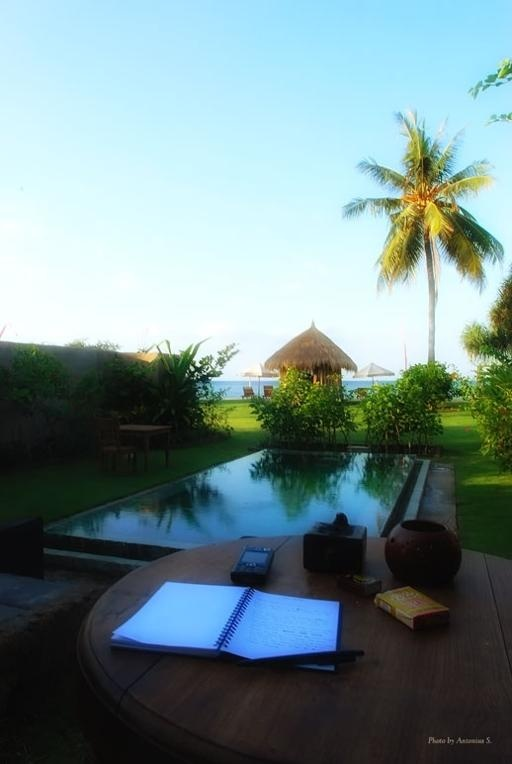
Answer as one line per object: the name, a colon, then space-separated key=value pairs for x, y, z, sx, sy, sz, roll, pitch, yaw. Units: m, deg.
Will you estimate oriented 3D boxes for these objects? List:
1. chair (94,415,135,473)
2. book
chair: x=-1.953 y=0.901 z=7.145 sx=0.534 sy=1.000 sz=0.561 roll=-1 pitch=8 yaw=-17
book: x=-0.022 y=0.496 z=1.140 sx=0.423 sy=0.041 sz=0.372 roll=-1 pitch=-2 yaw=18
